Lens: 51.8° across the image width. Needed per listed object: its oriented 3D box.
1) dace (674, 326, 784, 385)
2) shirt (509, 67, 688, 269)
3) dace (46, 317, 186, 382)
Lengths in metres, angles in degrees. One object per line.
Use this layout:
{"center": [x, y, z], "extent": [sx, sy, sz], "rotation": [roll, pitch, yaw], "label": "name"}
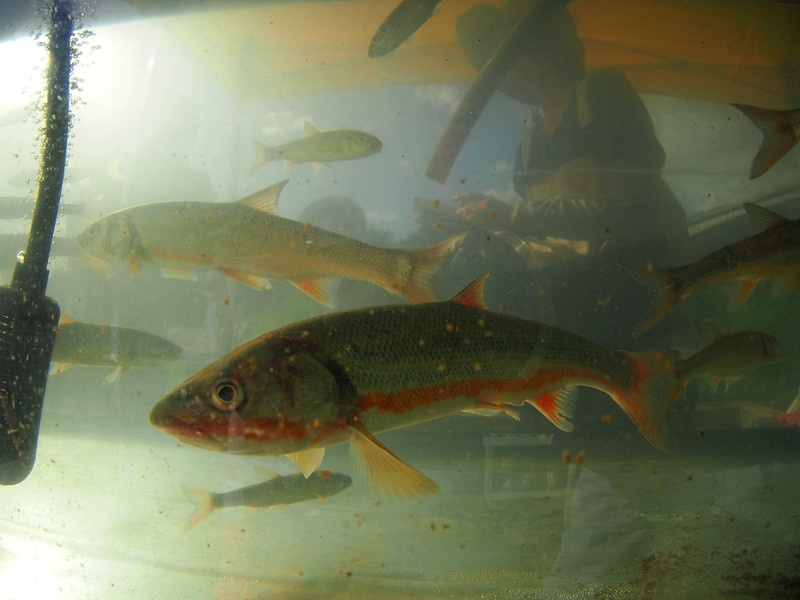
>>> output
{"center": [1.673, 0.290, 4.209], "extent": [0.687, 0.093, 0.243], "rotation": [-8, 83, -18], "label": "dace"}
{"center": [1.062, -0.643, 4.189], "extent": [0.921, 0.419, 0.953], "rotation": [1, 89, -4], "label": "shirt"}
{"center": [-1.342, 0.246, 4.024], "extent": [0.772, 0.145, 0.267], "rotation": [3, 58, 29], "label": "dace"}
